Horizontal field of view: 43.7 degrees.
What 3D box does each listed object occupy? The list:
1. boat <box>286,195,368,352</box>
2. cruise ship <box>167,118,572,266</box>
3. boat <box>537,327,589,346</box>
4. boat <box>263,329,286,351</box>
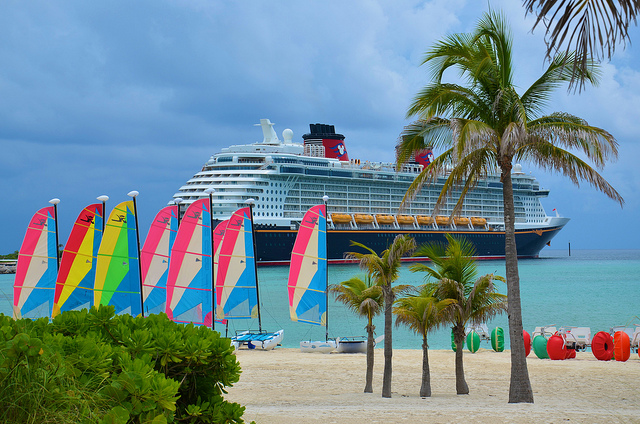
[{"bbox_3d":[-0.065,3.223,38.037,2.876,7.460,3.251,0,-2,17],"label":"boat"},{"bbox_3d":[8.378,-1.910,93.179,58.161,15.135,11.369,2,-1,-35],"label":"cruise ship"},{"bbox_3d":[11.768,5.916,38.035,1.918,0.835,1.092,2,-5,2],"label":"boat"},{"bbox_3d":[-2.283,6.459,39.616,0.452,1.016,1.760,-4,-12,19],"label":"boat"}]
